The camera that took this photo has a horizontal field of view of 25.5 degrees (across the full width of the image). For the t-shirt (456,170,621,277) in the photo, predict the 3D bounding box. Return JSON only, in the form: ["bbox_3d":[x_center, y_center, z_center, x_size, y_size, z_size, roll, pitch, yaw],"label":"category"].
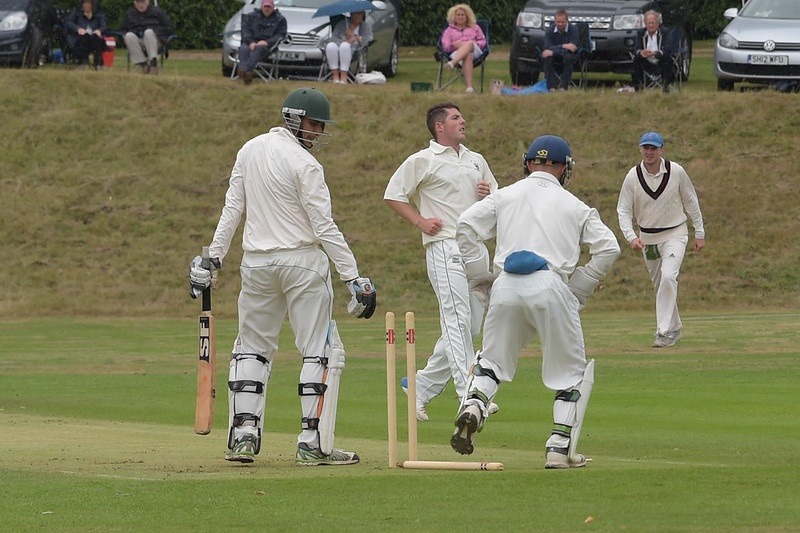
[{"bbox_3d":[1.984,-1.047,25.530,2.605,1.807,1.415,1,3,5],"label":"t-shirt"}]

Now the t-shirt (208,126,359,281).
[{"bbox_3d":[-1.893,-0.913,28.722,3.367,3.003,1.284,3,5,22],"label":"t-shirt"}]

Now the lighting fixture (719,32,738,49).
[{"bbox_3d":[7.082,-4.856,38.205,0.286,0.149,0.394,14,12,-5],"label":"lighting fixture"}]

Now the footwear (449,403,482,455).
[{"bbox_3d":[0.936,2.232,24.425,0.321,0.726,0.361,18,13,9],"label":"footwear"}]

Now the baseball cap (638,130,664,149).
[{"bbox_3d":[4.285,-2.127,30.123,0.346,0.240,0.322,0,5,-1],"label":"baseball cap"}]

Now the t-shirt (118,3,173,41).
[{"bbox_3d":[-5.679,-5.501,39.949,1.223,0.956,0.721,-1,7,-2],"label":"t-shirt"}]

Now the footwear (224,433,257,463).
[{"bbox_3d":[-2.209,2.588,24.921,0.444,0.382,0.251,0,5,-3],"label":"footwear"}]

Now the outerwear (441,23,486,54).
[{"bbox_3d":[1.431,-5.043,39.125,1.014,0.914,0.586,-5,-8,0],"label":"outerwear"}]

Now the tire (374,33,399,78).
[{"bbox_3d":[-0.296,-5.152,43.526,0.394,1.147,1.192,1,10,12],"label":"tire"}]

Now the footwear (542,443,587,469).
[{"bbox_3d":[2.323,2.663,24.570,0.618,0.275,0.239,-3,4,-20],"label":"footwear"}]

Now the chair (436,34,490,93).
[{"bbox_3d":[1.405,-4.674,40.285,1.151,1.662,1.220,2,11,5],"label":"chair"}]

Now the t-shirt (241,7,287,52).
[{"bbox_3d":[-2.966,-5.126,38.545,0.799,0.784,0.434,15,34,-2],"label":"t-shirt"}]

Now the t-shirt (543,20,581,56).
[{"bbox_3d":[3.567,-4.970,38.365,0.925,1.001,0.587,3,24,13],"label":"t-shirt"}]

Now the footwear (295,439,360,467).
[{"bbox_3d":[-1.028,2.654,24.989,0.940,0.400,0.343,0,-1,-6],"label":"footwear"}]

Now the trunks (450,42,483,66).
[{"bbox_3d":[1.469,-4.682,39.017,0.412,0.733,0.222,31,-8,11],"label":"trunks"}]

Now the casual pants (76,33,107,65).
[{"bbox_3d":[-7.161,-5.029,40.846,0.568,0.260,0.674,6,-30,-9],"label":"casual pants"}]

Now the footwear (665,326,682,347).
[{"bbox_3d":[4.732,1.230,30.381,0.130,0.306,0.420,3,6,31],"label":"footwear"}]

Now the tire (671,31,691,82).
[{"bbox_3d":[6.349,-4.769,40.101,0.489,1.358,1.385,-1,-2,10],"label":"tire"}]

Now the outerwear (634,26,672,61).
[{"bbox_3d":[5.454,-4.806,38.151,0.714,0.670,0.650,1,7,14],"label":"outerwear"}]

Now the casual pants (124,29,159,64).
[{"bbox_3d":[-5.830,-5.005,40.363,0.645,0.752,0.741,-5,40,4],"label":"casual pants"}]

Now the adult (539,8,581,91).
[{"bbox_3d":[3.510,-4.824,38.762,0.970,1.334,2.257,5,-20,10],"label":"adult"}]

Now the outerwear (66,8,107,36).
[{"bbox_3d":[-7.136,-5.549,40.268,0.956,0.722,0.542,0,-6,-14],"label":"outerwear"}]
